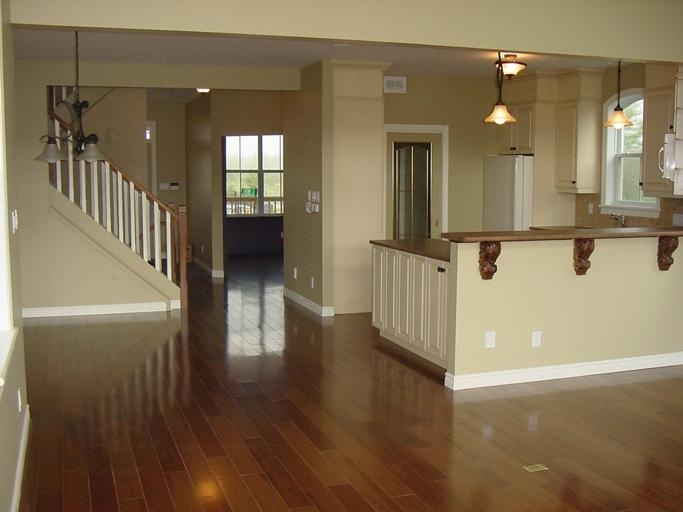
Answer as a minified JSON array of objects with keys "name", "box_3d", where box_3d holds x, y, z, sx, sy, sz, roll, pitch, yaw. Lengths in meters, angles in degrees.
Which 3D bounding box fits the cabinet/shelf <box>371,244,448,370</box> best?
[{"name":"cabinet/shelf","box_3d":[0.744,0.547,5.766,0.626,0.845,1.144,1,5,-15]}]

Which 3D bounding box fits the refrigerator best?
[{"name":"refrigerator","box_3d":[2.542,-0.979,8.420,0.782,1.165,0.241,7,11,44]}]

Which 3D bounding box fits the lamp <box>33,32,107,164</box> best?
[{"name":"lamp","box_3d":[-3.814,-2.000,7.777,0.831,1.392,4.912,-4,9,-23]}]

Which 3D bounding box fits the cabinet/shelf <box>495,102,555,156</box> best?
[{"name":"cabinet/shelf","box_3d":[2.795,-1.782,8.581,0.626,1.112,1.101,-1,6,-18]}]

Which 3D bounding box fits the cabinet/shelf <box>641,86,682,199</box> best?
[{"name":"cabinet/shelf","box_3d":[3.829,-1.368,6.582,0.226,1.276,0.525,1,8,9]}]

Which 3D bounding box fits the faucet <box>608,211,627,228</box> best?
[{"name":"faucet","box_3d":[3.887,-0.516,7.681,0.185,0.309,0.133,4,9,22]}]
